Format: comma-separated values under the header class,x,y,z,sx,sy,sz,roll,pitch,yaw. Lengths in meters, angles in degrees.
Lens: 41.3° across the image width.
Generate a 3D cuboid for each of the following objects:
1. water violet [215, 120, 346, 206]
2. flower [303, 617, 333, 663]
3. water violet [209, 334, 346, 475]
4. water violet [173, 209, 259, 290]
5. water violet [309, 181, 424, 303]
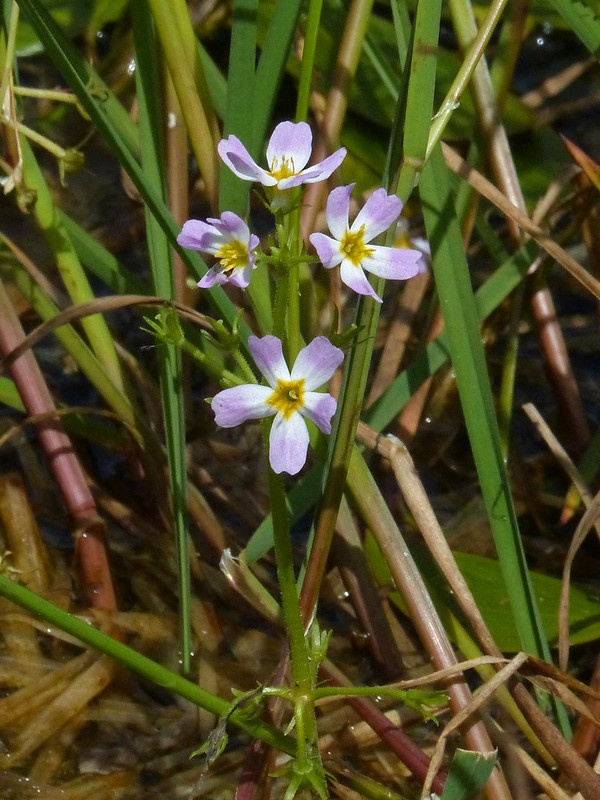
class,x,y,z,sx,sy,sz,roll,pitch,yaw
water violet,-0.019,-0.205,0.694,0.111,0.041,0.108,-14,43,-19
flower,0.019,0.251,0.812,0.031,0.042,0.044,7,104,2
water violet,-0.013,0.005,0.650,0.089,0.107,0.097,31,68,11
water violet,-0.057,-0.130,0.678,0.039,0.073,0.073,-18,98,-42
water violet,0.068,-0.143,0.723,0.046,0.110,0.096,-13,74,7
